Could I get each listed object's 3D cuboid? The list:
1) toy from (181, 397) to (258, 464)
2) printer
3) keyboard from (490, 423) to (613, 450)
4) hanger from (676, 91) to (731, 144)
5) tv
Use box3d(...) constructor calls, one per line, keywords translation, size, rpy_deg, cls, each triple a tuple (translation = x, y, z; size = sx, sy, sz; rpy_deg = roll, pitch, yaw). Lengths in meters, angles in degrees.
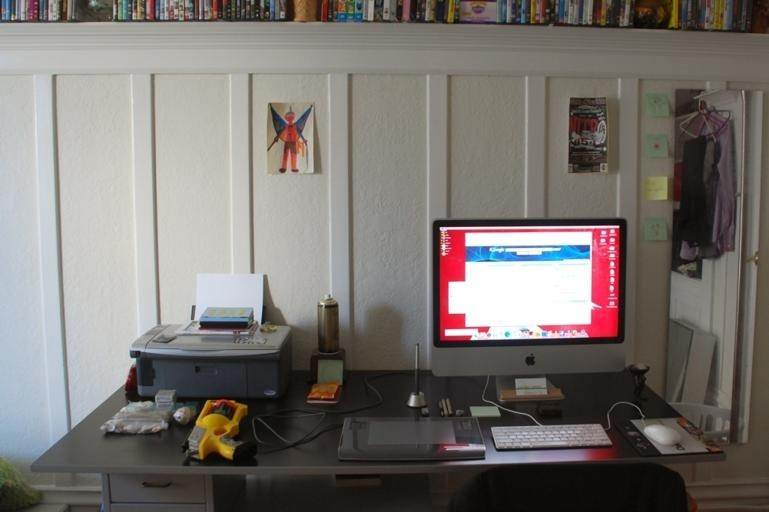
box3d(translation=(-0.672, 0.715, 2.783), size=(0.302, 0.196, 0.275), rpy_deg=(0, 7, -17), cls="toy")
box3d(translation=(-0.764, 0.486, 3.133), size=(0.513, 0.214, 0.349), rpy_deg=(1, 12, -3), cls="printer")
box3d(translation=(0.671, 0.731, 2.795), size=(0.470, 0.067, 0.108), rpy_deg=(-3, 12, -1), cls="keyboard")
box3d(translation=(1.511, -0.666, 3.293), size=(0.247, 0.250, 0.012), rpy_deg=(0, -1, 0), cls="hanger")
box3d(translation=(0.622, 0.219, 2.996), size=(0.802, 0.664, 0.260), rpy_deg=(0, -1, -1), cls="tv")
